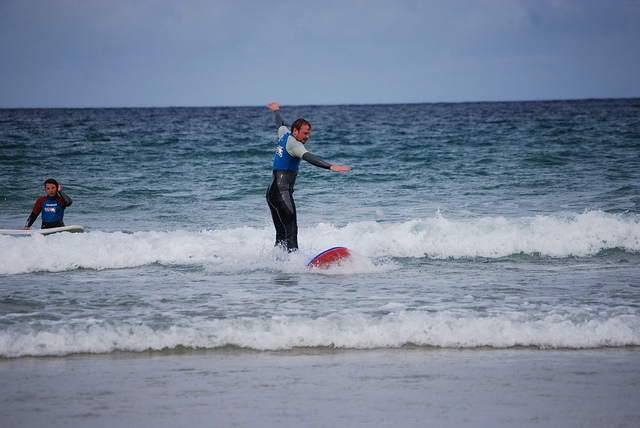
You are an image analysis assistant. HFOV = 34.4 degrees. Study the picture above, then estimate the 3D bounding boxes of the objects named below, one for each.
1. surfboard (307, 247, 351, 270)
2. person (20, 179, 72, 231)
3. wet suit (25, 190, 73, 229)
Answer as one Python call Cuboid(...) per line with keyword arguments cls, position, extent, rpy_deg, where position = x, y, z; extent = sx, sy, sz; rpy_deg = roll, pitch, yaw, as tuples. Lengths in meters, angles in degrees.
Cuboid(cls="surfboard", position=(0.220, 1.132, 27.086), extent=(0.770, 0.251, 0.624), rpy_deg=(-27, -5, 6))
Cuboid(cls="person", position=(-7.619, -0.267, 28.997), extent=(1.192, 1.423, 0.656), rpy_deg=(-1, 4, -11))
Cuboid(cls="wet suit", position=(-7.967, -0.095, 30.331), extent=(1.395, 1.992, 0.699), rpy_deg=(0, -15, -12))
